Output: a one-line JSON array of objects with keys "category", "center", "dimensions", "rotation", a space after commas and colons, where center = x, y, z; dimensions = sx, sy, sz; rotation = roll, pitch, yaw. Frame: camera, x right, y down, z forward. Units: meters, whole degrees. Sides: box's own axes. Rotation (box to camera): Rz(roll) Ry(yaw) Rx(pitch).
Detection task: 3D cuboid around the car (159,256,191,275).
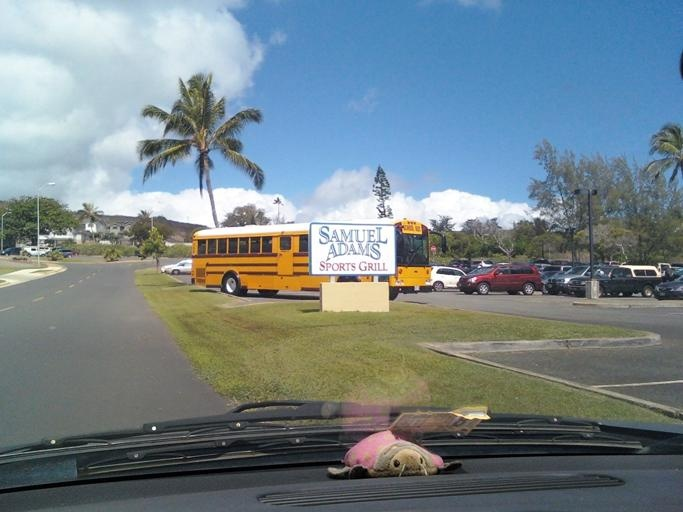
[{"category": "car", "center": [-15.493, 1.036, 55.744], "dimensions": [3.468, 1.331, 2.246], "rotation": [3, -2, -22]}]
